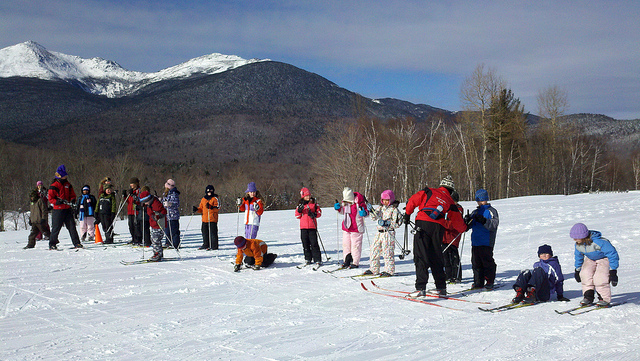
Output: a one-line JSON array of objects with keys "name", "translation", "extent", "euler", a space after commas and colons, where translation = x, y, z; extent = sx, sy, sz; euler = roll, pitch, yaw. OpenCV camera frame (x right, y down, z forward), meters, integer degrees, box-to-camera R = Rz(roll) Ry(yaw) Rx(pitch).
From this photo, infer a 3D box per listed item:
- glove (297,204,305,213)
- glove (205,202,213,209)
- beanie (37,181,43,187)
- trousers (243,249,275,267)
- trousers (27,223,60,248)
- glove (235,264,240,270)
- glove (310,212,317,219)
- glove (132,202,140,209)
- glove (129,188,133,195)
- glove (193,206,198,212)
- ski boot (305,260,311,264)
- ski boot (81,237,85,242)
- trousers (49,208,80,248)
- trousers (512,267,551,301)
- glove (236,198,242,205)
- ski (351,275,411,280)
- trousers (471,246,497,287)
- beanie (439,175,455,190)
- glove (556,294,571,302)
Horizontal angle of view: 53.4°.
[{"name": "glove", "translation": [-1.411, 2.090, 47.910], "extent": [0.528, 0.610, 0.121], "euler": [-1, -4, -6]}, {"name": "glove", "translation": [-8.784, 2.010, 50.500], "extent": [0.537, 0.454, 0.093], "euler": [-1, -4, -10]}, {"name": "beanie", "translation": [-22.890, 0.274, 52.087], "extent": [0.249, 0.428, 0.855], "euler": [-1, -4, -8]}, {"name": "trousers", "translation": [-4.221, 5.758, 48.452], "extent": [1.327, 1.282, 0.513], "euler": [1, -30, 1]}, {"name": "trousers", "translation": [-22.490, 4.475, 51.867], "extent": [1.988, 1.777, 0.768], "euler": [3, 11, 11]}, {"name": "glove", "translation": [-6.203, 6.430, 47.824], "extent": [0.335, 0.419, 0.086], "euler": [-1, -4, -8]}, {"name": "glove", "translation": [-0.468, 2.605, 47.893], "extent": [0.517, 0.515, 0.128], "euler": [-1, -4, -15]}, {"name": "glove", "translation": [-14.708, 1.992, 50.949], "extent": [0.541, 0.499, 0.126], "euler": [14, 32, 27]}, {"name": "glove", "translation": [-14.975, 0.865, 50.553], "extent": [0.332, 0.415, 0.200], "euler": [4, -18, 30]}, {"name": "glove", "translation": [-9.760, 2.198, 49.815], "extent": [0.306, 0.403, 0.765], "euler": [-1, -4, -6]}, {"name": "ski boot", "translation": [-0.901, 6.184, 48.487], "extent": [0.387, 0.245, 0.202], "euler": [0, -8, -1]}, {"name": "ski boot", "translation": [-19.935, 4.958, 53.557], "extent": [0.231, 0.340, 0.363], "euler": [0, -20, -10]}, {"name": "trousers", "translation": [-20.515, 3.744, 51.020], "extent": [2.119, 3.041, 0.917], "euler": [0, -4, -20]}, {"name": "trousers", "translation": [15.327, 7.387, 45.360], "extent": [2.077, 2.320, 1.806], "euler": [0, 0, 23]}, {"name": "glove", "translation": [-6.355, 1.643, 49.959], "extent": [0.417, 0.616, 0.400], "euler": [5, -4, -39]}, {"name": "ski", "translation": [4.364, 7.092, 46.971], "extent": [3.624, 0.230, 0.223], "euler": [-1, -4, -7]}, {"name": "trousers", "translation": [11.757, 6.120, 45.759], "extent": [1.599, 2.872, 0.576], "euler": [-2, -4, 12]}, {"name": "beanie", "translation": [9.227, 0.142, 45.778], "extent": [1.078, 0.960, 0.862], "euler": [20, -9, -40]}, {"name": "glove", "translation": [17.144, 8.243, 44.809], "extent": [0.924, 0.685, 0.325], "euler": [-14, 10, 17]}]
